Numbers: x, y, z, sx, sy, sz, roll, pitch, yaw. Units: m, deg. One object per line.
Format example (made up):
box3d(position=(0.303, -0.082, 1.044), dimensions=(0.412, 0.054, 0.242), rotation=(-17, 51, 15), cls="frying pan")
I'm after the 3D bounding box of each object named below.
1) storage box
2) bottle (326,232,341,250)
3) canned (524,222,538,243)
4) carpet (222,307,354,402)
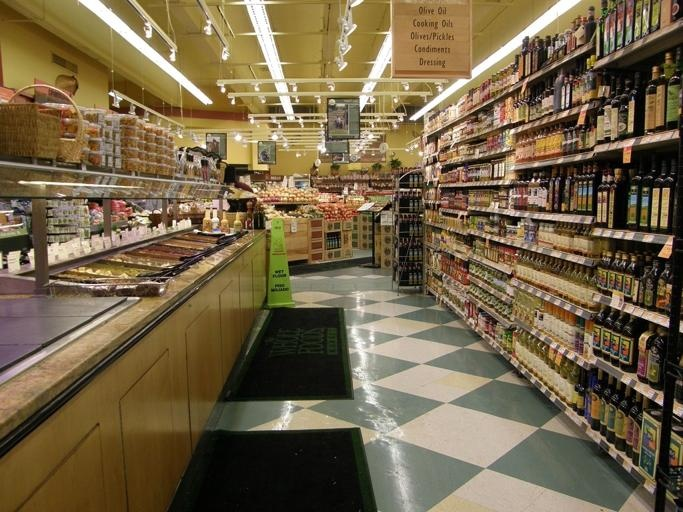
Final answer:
box3d(position=(0.307, -0.536, 11.338), dimensions=(1.738, 1.456, 5.152), rotation=(1, 9, 4), cls="storage box")
box3d(position=(-0.183, -0.356, 10.847), dimensions=(0.030, 0.395, 0.521), rotation=(8, 13, 40), cls="bottle")
box3d(position=(1.707, -0.215, 4.227), dimensions=(0.143, 0.189, 0.142), rotation=(0, 2, 10), cls="canned")
box3d(position=(-0.452, 1.052, 5.590), dimensions=(1.174, 0.072, 4.000), rotation=(0, 6, -2), cls="carpet")
